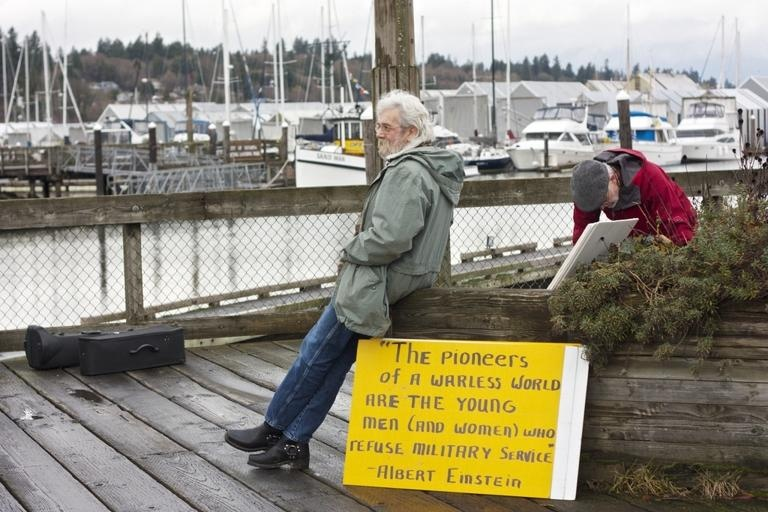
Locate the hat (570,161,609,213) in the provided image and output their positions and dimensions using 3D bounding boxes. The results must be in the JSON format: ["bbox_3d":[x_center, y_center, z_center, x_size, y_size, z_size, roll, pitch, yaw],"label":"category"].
[{"bbox_3d":[1.355,-0.450,6.611,0.239,0.336,0.219,2,13,10],"label":"hat"}]

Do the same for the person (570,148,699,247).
[{"bbox_3d":[1.663,-0.394,6.682,0.798,0.475,0.600,-6,2,-42],"label":"person"}]

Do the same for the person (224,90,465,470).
[{"bbox_3d":[-0.168,0.170,6.341,1.342,2.354,0.496,0,12,2],"label":"person"}]
